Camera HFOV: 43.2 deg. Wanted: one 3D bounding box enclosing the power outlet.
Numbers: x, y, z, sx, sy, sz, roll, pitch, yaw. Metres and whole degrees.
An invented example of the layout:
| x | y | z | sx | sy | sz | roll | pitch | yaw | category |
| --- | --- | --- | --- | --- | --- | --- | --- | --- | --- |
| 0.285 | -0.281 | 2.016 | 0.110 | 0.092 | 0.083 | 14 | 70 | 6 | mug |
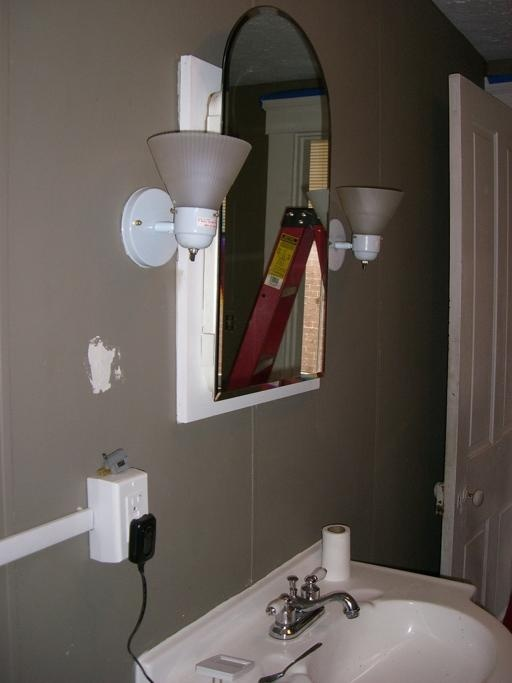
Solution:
| x | y | z | sx | sy | sz | roll | pitch | yaw | category |
| --- | --- | --- | --- | --- | --- | --- | --- | --- | --- |
| -0.184 | 0.228 | 0.846 | 0.077 | 0.113 | 0.053 | 4 | -6 | -13 | power outlet |

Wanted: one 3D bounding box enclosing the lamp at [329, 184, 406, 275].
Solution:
| x | y | z | sx | sy | sz | roll | pitch | yaw | category |
| --- | --- | --- | --- | --- | --- | --- | --- | --- | --- |
| 0.228 | -0.242 | 1.395 | 0.144 | 0.181 | 0.145 | 6 | 13 | 21 | lamp |

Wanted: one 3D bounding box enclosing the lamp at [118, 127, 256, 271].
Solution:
| x | y | z | sx | sy | sz | roll | pitch | yaw | category |
| --- | --- | --- | --- | --- | --- | --- | --- | --- | --- |
| -0.096 | -0.184 | 0.869 | 0.143 | 0.187 | 0.131 | 5 | 10 | 27 | lamp |

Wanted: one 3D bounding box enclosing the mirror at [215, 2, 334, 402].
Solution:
| x | y | z | sx | sy | sz | roll | pitch | yaw | category |
| --- | --- | --- | --- | --- | --- | --- | --- | --- | --- |
| 0.046 | -0.233 | 1.157 | 0.097 | 0.691 | 0.497 | 0 | -7 | 21 | mirror |
